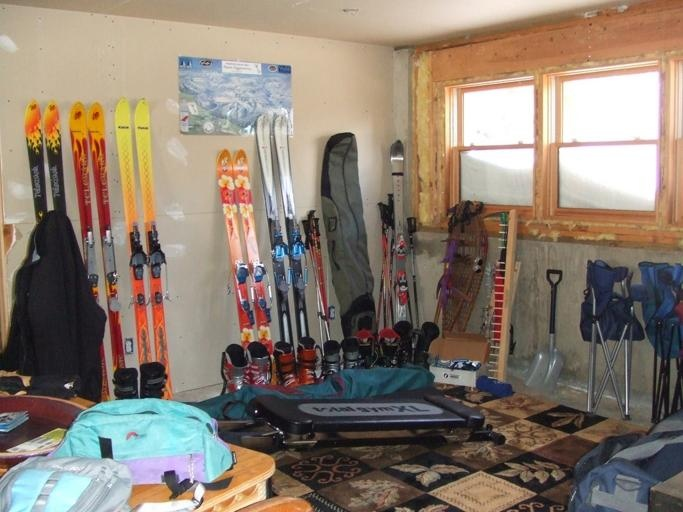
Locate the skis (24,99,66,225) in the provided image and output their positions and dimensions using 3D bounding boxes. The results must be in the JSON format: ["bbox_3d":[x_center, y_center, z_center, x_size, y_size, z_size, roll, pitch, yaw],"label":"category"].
[{"bbox_3d":[-2.154,-0.697,4.087,0.249,0.852,0.207,-6,8,-29],"label":"skis"}]

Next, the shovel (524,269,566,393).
[{"bbox_3d":[1.786,0.620,4.804,0.299,1.061,0.468,3,8,39],"label":"shovel"}]

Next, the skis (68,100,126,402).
[{"bbox_3d":[-1.824,-0.044,4.242,0.288,2.568,0.136,-9,9,-41],"label":"skis"}]

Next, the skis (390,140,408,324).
[{"bbox_3d":[0.576,-0.265,5.631,0.186,1.779,0.196,-1,-10,4],"label":"skis"}]
